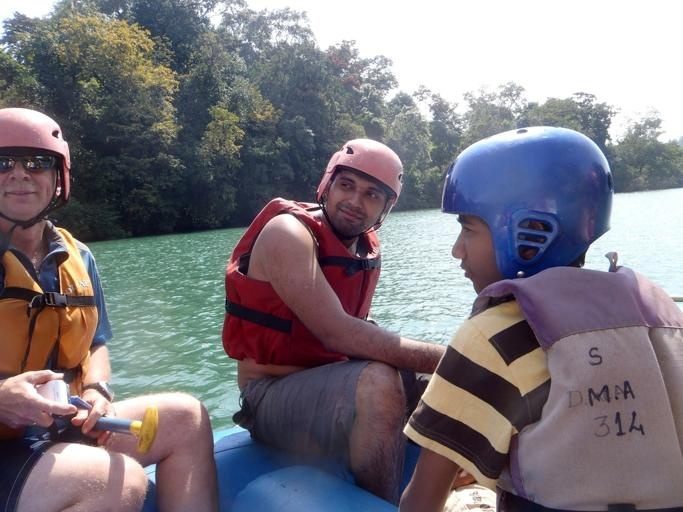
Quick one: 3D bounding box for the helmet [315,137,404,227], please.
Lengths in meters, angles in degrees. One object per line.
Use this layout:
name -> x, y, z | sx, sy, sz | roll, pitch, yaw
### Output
helmet -> 0.145, -0.480, 3.748 | 0.438, 0.546, 0.549 | 30, -5, -20
